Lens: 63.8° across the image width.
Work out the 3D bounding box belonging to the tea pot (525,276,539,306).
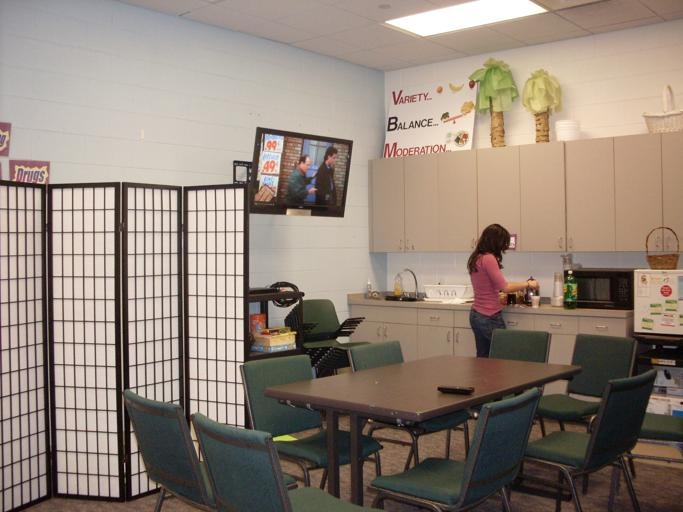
[{"bbox_3d":[2.050,0.384,5.933,0.190,0.301,0.284,3,6,28],"label":"tea pot"}]

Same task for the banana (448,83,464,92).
[{"bbox_3d":[1.417,-2.093,6.791,0.158,0.111,0.054,14,10,41],"label":"banana"}]

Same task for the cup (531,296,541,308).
[{"bbox_3d":[2.069,0.490,5.876,0.109,0.120,0.114,1,-6,0],"label":"cup"}]

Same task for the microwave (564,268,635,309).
[{"bbox_3d":[2.641,0.321,5.475,0.370,0.405,0.629,2,-2,-43],"label":"microwave"}]

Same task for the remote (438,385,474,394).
[{"bbox_3d":[0.672,0.779,3.217,0.211,0.031,0.117,0,3,4],"label":"remote"}]

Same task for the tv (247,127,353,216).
[{"bbox_3d":[-0.432,-0.807,5.346,1.208,0.840,0.088,-1,18,-39],"label":"tv"}]

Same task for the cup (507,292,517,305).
[{"bbox_3d":[1.870,0.464,6.024,0.114,0.124,0.111,0,2,0],"label":"cup"}]
